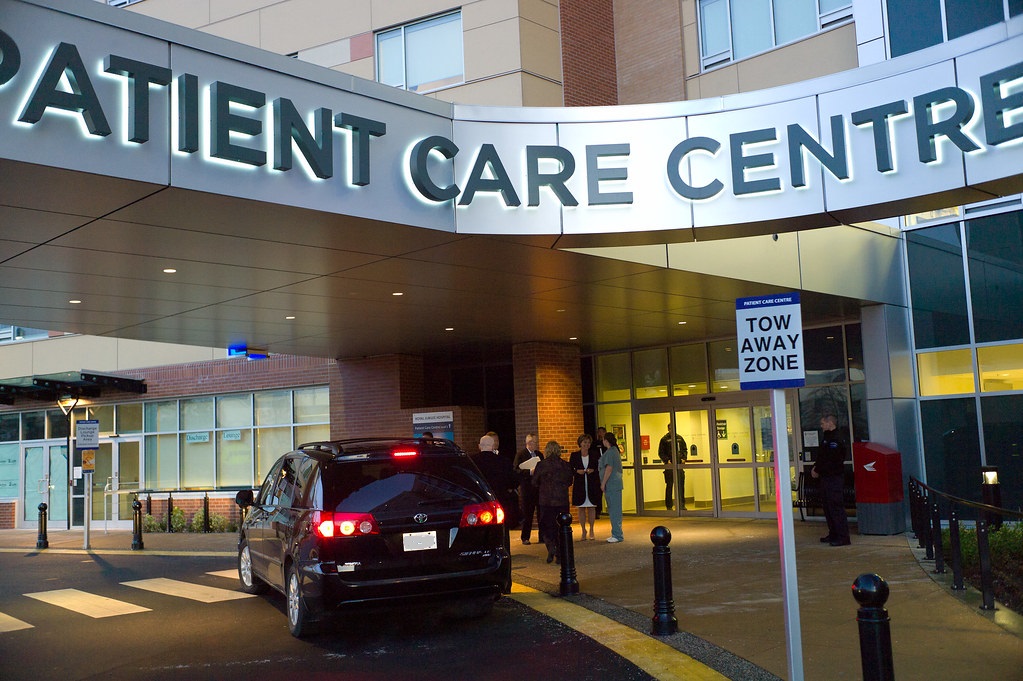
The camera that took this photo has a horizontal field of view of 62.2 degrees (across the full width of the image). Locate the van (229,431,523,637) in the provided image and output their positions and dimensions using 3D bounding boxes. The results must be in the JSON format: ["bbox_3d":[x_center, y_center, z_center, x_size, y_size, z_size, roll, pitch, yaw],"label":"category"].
[{"bbox_3d":[-2.276,2.426,11.983,2.174,1.488,3.578,1,-2,-23],"label":"van"}]

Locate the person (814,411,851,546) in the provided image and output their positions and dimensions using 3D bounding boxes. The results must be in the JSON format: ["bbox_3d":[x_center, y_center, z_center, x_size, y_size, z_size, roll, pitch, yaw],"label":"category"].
[{"bbox_3d":[6.476,2.832,17.192,0.577,2.511,0.628,-5,-8,19],"label":"person"}]

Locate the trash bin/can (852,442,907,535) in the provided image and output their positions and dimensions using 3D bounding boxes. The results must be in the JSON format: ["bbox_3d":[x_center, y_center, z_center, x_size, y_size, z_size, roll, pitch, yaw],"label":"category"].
[{"bbox_3d":[7.852,3.146,18.096,0.952,1.956,0.658,-5,-7,14],"label":"trash bin/can"}]

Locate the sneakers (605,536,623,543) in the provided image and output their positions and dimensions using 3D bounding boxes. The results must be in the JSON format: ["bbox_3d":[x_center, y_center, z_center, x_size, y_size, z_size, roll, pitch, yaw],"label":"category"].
[{"bbox_3d":[2.262,4.385,18.655,0.344,0.146,0.133,4,-8,-14],"label":"sneakers"}]

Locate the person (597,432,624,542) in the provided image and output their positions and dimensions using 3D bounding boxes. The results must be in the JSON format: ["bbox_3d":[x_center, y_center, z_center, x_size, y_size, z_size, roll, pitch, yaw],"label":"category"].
[{"bbox_3d":[2.242,3.276,19.148,0.475,2.357,1.092,-3,-7,5],"label":"person"}]

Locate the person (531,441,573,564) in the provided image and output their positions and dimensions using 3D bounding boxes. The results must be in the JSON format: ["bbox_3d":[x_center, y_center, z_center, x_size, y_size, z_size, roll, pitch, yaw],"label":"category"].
[{"bbox_3d":[0.787,3.052,16.116,0.698,2.223,1.172,-3,-7,2],"label":"person"}]
